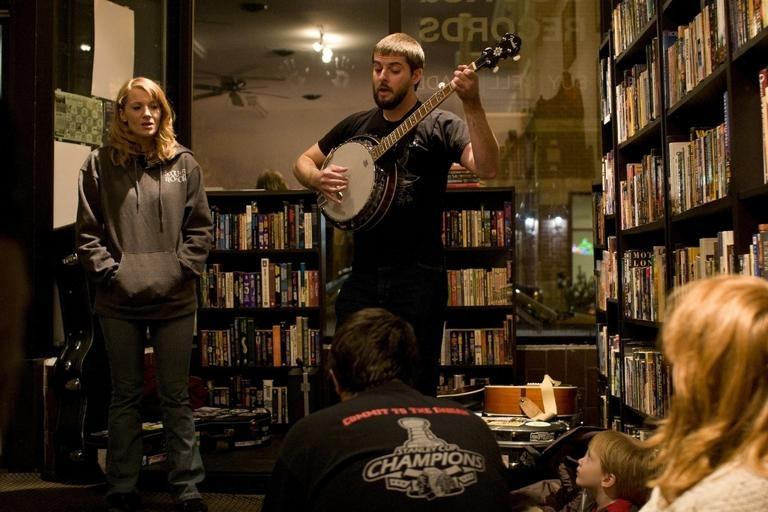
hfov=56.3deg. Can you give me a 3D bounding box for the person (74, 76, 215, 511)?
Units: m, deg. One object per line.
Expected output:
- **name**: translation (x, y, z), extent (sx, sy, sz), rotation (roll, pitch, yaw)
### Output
- **person**: translation (-1.309, 0.188, 3.889), extent (0.712, 2.335, 0.229), rotation (0, -4, -14)

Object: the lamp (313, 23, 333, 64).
- **lamp**: translation (-0.561, -1.883, 6.445), extent (0.161, 0.283, 0.064), rotation (-9, 5, 1)
